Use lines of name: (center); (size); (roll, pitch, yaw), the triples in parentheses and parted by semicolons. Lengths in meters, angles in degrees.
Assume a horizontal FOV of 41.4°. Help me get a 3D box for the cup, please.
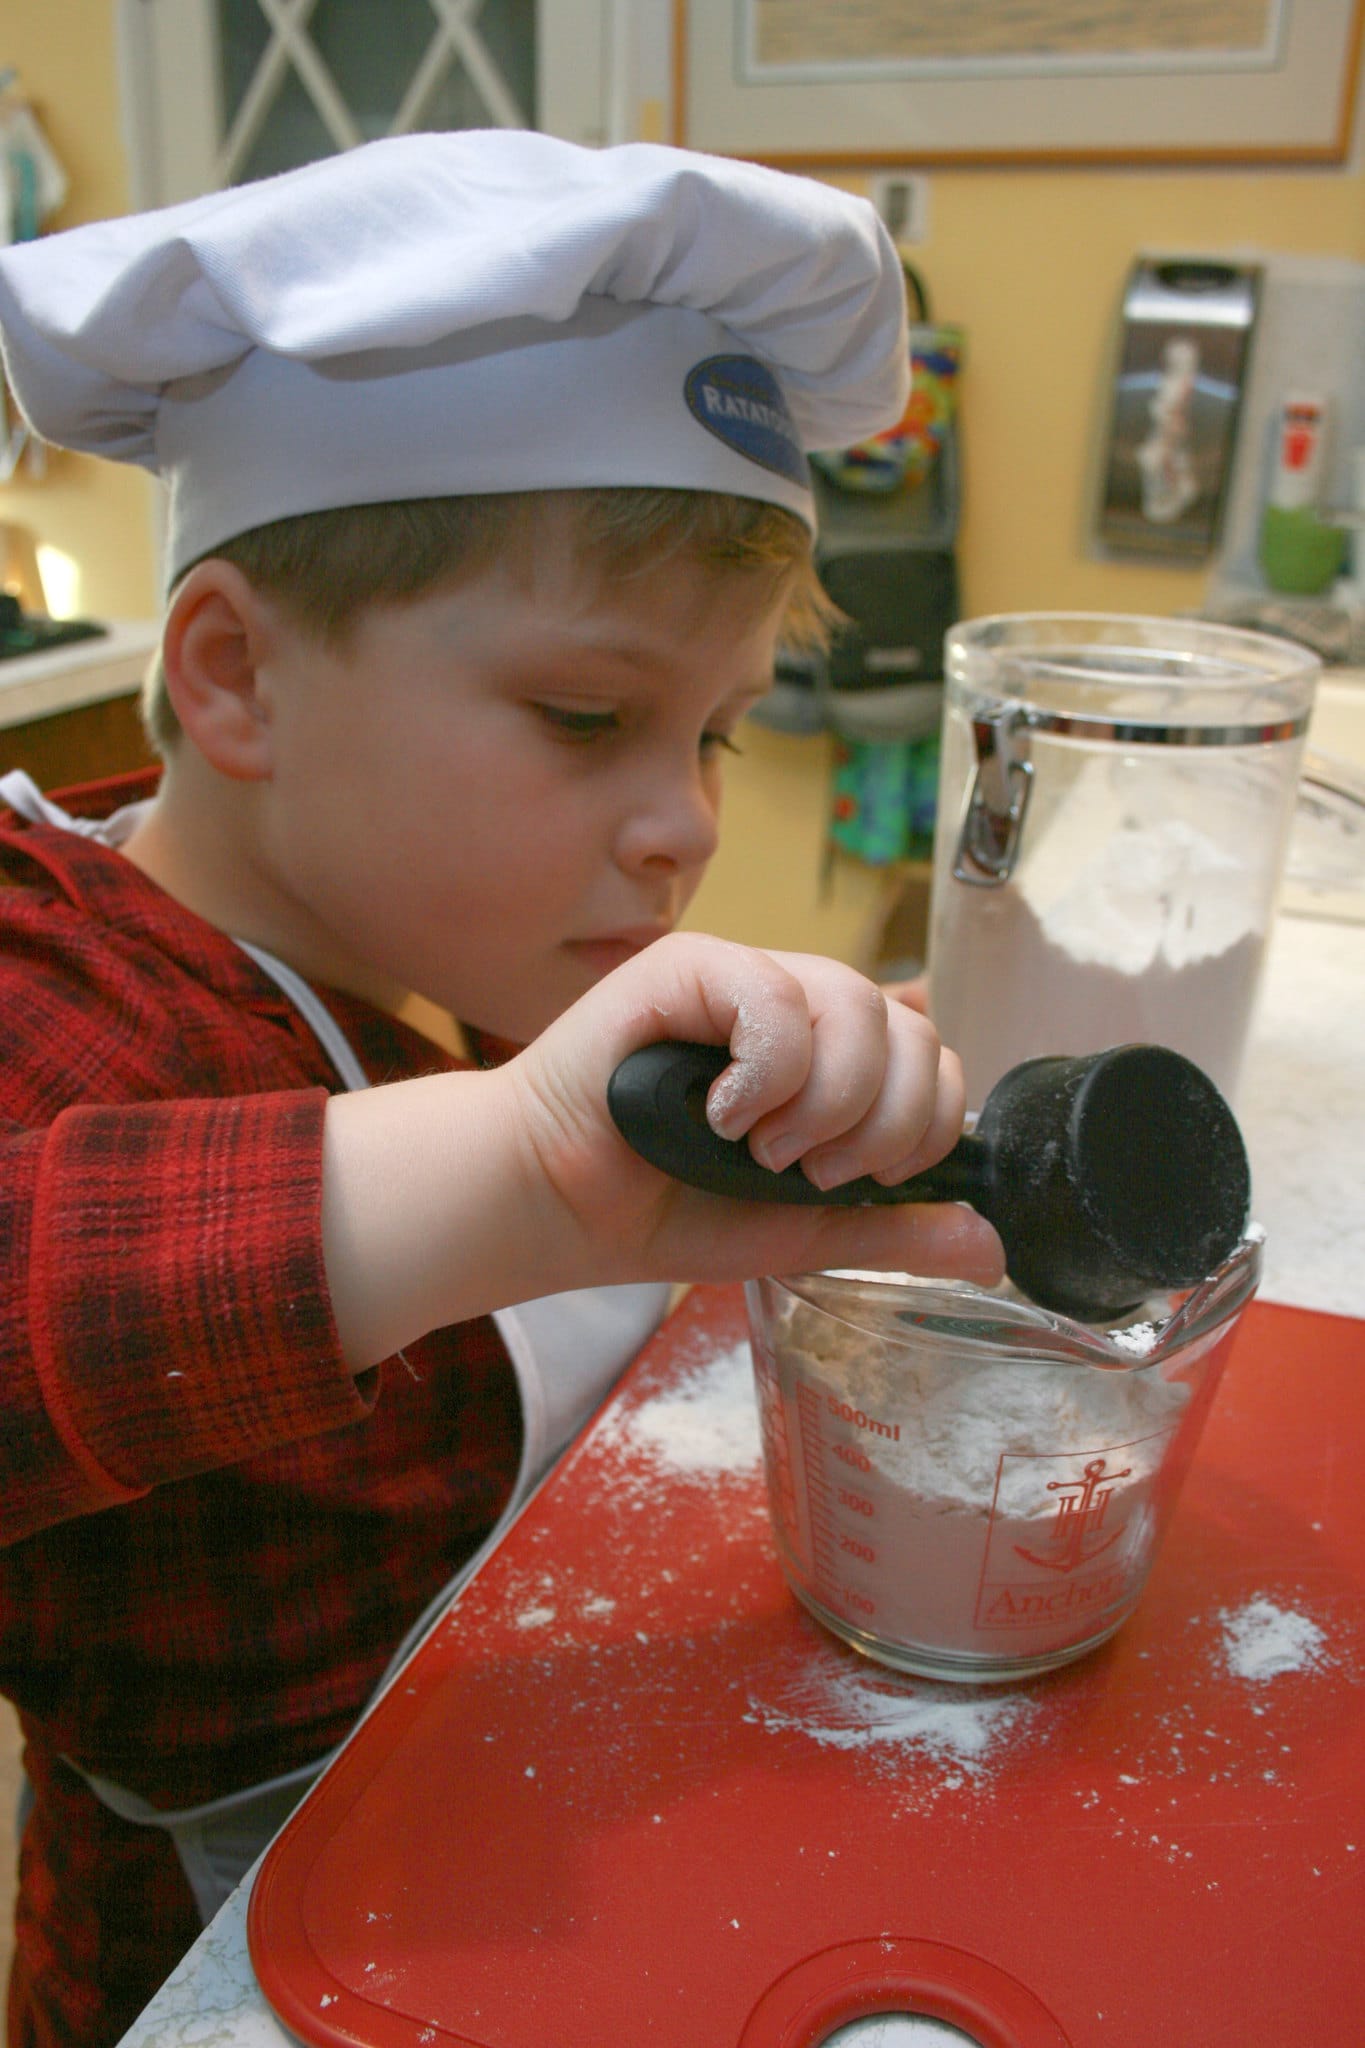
cup: (0.084, 0.113, 0.506); (0.115, 0.119, 0.128); (9, 17, 21)

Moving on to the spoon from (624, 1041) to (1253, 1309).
spoon: (0.058, 0.042, 0.454); (0.143, 0.059, 0.069); (7, 38, -10)
